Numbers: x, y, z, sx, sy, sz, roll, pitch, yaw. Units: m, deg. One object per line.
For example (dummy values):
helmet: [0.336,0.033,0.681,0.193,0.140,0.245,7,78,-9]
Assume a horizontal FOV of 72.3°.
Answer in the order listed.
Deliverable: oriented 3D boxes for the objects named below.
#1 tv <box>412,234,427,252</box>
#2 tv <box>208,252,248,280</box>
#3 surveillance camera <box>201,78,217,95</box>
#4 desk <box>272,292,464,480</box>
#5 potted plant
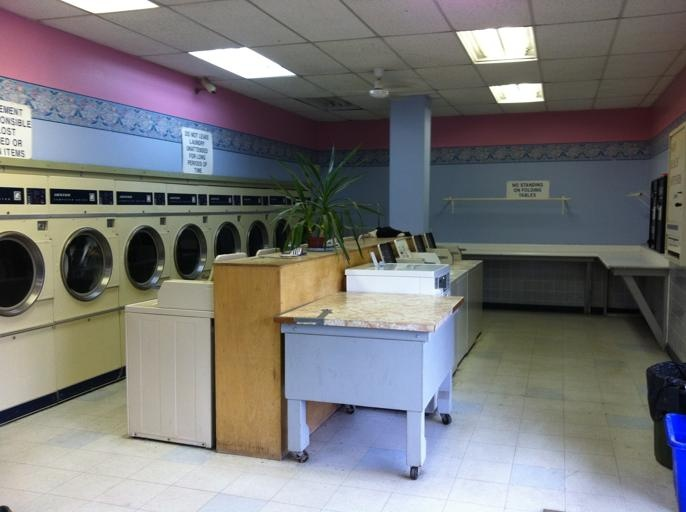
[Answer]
tv: [0.907,-0.145,5.814,0.061,0.203,0.226,-13,6,21]
tv: [-0.953,0.071,3.878,0.239,0.153,1.028,-2,6,-11]
surveillance camera: [-1.776,-2.225,6.163,0.184,0.196,0.434,-2,6,-18]
desk: [0.262,0.847,3.616,1.157,0.978,1.215,0,1,16]
potted plant: [-0.215,-0.376,4.057,0.712,0.773,0.587,9,22,16]
